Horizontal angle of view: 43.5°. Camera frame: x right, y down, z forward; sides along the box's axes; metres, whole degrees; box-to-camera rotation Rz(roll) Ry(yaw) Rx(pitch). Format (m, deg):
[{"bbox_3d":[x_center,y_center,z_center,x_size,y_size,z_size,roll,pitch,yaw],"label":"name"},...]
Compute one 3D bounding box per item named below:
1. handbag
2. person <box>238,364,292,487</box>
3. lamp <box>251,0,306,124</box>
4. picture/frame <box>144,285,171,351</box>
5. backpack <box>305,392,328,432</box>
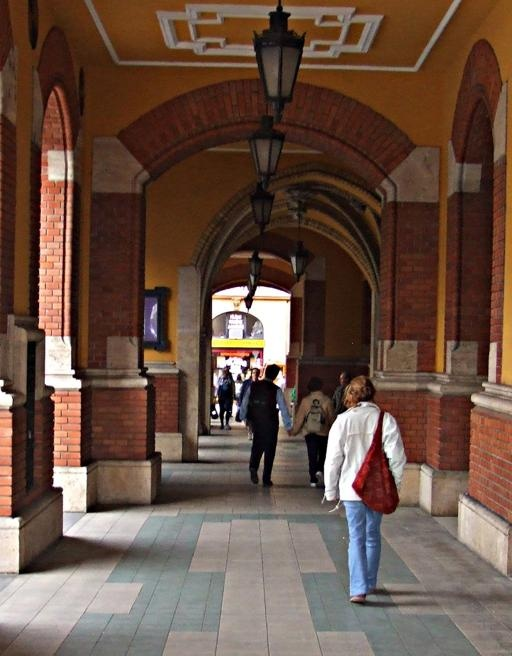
[{"bbox_3d":[0.723,0.855,3.787,0.289,0.518,0.110,16,34,24],"label":"handbag"},{"bbox_3d":[0.137,1.282,8.408,0.590,1.589,0.468,3,-3,10],"label":"person"},{"bbox_3d":[0.131,-1.617,3.766,0.278,0.804,0.320,1,-5,-1],"label":"lamp"},{"bbox_3d":[-1.640,-0.167,10.617,0.413,1.056,0.193,1,-5,-9],"label":"picture/frame"},{"bbox_3d":[0.736,1.112,8.030,0.250,0.417,0.388,1,0,0],"label":"backpack"}]
